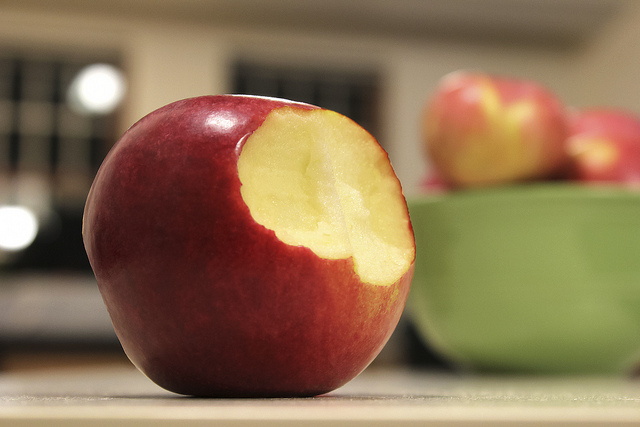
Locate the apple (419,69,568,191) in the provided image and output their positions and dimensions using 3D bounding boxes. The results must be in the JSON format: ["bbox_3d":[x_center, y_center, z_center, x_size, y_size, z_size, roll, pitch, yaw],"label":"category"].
[{"bbox_3d":[0.198,-0.096,0.888,0.141,0.151,0.141,-2,-4,-1],"label":"apple"}]

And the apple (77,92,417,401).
[{"bbox_3d":[-0.060,0.033,0.717,0.306,0.284,0.298,4,6,-4],"label":"apple"}]
